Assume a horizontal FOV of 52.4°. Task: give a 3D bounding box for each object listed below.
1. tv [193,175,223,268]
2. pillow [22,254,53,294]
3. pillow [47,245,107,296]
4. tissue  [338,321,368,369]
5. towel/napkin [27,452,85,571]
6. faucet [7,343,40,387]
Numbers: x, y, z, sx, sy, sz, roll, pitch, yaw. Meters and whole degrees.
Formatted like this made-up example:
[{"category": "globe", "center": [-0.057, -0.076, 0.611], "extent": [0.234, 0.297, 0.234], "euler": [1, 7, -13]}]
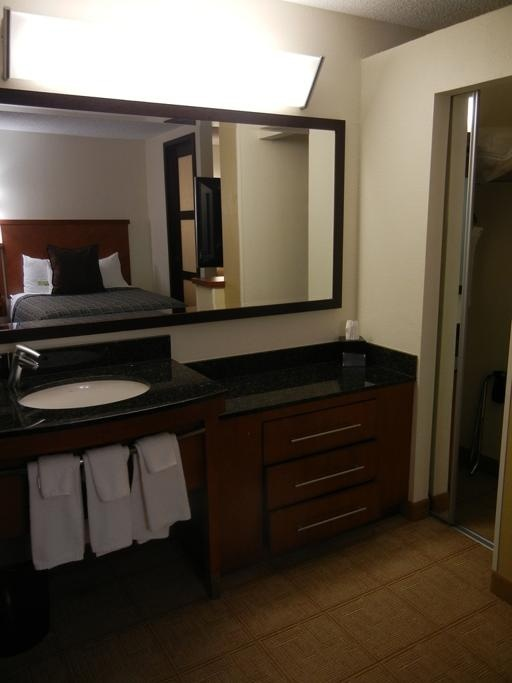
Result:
[{"category": "tv", "center": [-0.187, -0.468, 2.068], "extent": [0.111, 0.344, 0.066], "euler": [-2, 7, -15]}, {"category": "pillow", "center": [-0.767, -0.240, 1.806], "extent": [0.035, 0.130, 0.101], "euler": [6, 8, 36]}, {"category": "pillow", "center": [-0.659, -0.261, 1.875], "extent": [0.124, 0.164, 0.045], "euler": [-11, 13, -37]}, {"category": "tissue ", "center": [0.464, 0.010, 2.473], "extent": [0.122, 0.214, 0.174], "euler": [1, 7, 14]}, {"category": "towel/napkin", "center": [-0.552, 0.466, 1.458], "extent": [0.162, 0.319, 0.099], "euler": [-6, 9, -40]}, {"category": "faucet", "center": [-0.745, 0.077, 1.666], "extent": [0.155, 0.144, 0.066], "euler": [6, 9, 42]}]
